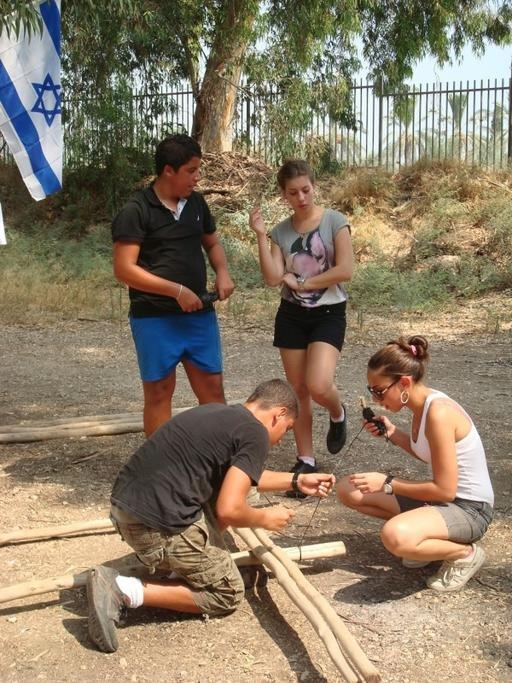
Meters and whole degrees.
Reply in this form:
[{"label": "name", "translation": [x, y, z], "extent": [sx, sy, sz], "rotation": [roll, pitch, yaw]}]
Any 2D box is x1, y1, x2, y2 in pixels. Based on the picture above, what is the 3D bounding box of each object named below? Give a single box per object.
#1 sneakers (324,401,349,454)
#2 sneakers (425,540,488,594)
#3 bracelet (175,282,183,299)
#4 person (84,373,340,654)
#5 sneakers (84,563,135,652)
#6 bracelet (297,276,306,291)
[{"label": "sneakers", "translation": [0.483, 0.525, 4.274], "extent": [0.123, 0.302, 0.134], "rotation": [5, 4, 32]}, {"label": "sneakers", "translation": [0.817, 0.952, 2.952], "extent": [0.296, 0.117, 0.117], "rotation": [-38, 33, -5]}, {"label": "bracelet", "translation": [-0.376, -0.244, 3.427], "extent": [0.025, 0.057, 0.046], "rotation": [5, 4, -36]}, {"label": "person", "translation": [-0.188, 0.655, 2.781], "extent": [0.638, 0.908, 1.076], "rotation": [13, 8, 36]}, {"label": "sneakers", "translation": [-0.524, 0.941, 2.488], "extent": [0.161, 0.300, 0.106], "rotation": [-9, -33, -1]}, {"label": "bracelet", "translation": [0.244, -0.322, 3.904], "extent": [0.056, 0.078, 0.076], "rotation": [0, -33, 4]}]
